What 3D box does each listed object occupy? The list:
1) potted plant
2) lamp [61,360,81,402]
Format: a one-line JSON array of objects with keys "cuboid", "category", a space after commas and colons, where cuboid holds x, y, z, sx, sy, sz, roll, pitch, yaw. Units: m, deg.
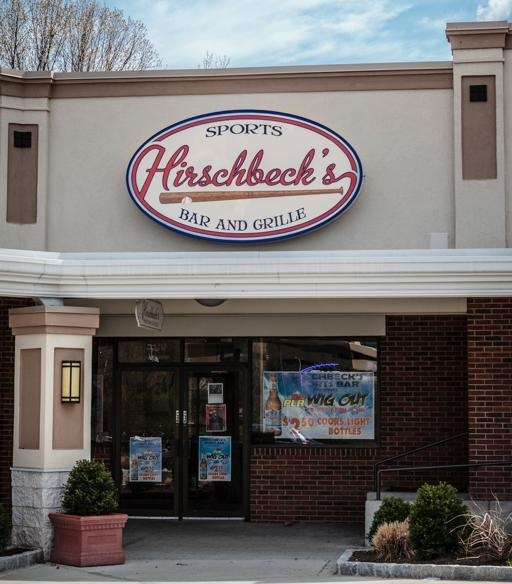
[{"cuboid": [-2.008, 2.615, 12.056, 0.917, 1.229, 0.554, -1, -13, 3], "category": "potted plant"}, {"cuboid": [-2.285, 1.119, 12.645, 0.294, 0.522, 0.074, 10, -16, -39], "category": "lamp"}]
